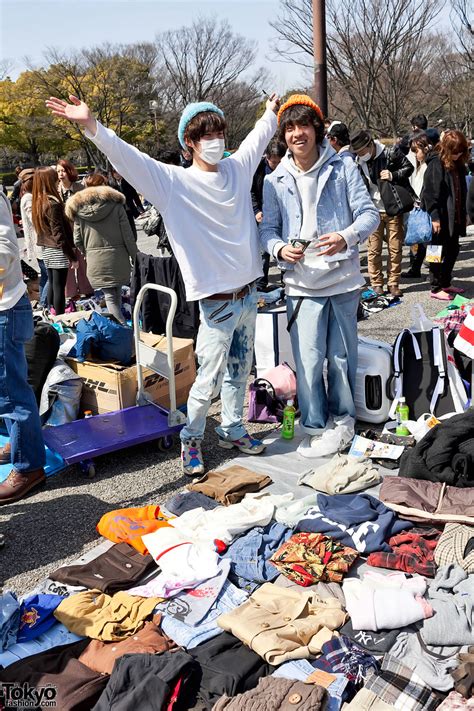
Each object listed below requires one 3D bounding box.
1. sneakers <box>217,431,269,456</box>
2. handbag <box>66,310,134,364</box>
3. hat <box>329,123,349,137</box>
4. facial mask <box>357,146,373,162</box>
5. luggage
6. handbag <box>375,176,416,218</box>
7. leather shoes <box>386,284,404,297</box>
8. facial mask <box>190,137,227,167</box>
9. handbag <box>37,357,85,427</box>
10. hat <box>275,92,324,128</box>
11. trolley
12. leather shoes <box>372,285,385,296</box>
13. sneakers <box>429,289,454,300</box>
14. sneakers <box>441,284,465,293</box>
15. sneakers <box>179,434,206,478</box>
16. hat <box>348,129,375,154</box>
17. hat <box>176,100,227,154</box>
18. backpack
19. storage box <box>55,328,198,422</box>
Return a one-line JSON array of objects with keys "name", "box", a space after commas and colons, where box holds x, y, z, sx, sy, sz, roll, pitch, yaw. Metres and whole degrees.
[{"name": "sneakers", "box": [0.038, 0.605, 3.908, 0.344, 0.137, 0.132, 5, 12, 19]}, {"name": "handbag", "box": [-1.087, -0.233, 4.576, 0.565, 0.255, 0.611, -11, 17, -26]}, {"name": "hat", "box": [1.191, -2.673, 6.629, 0.170, 0.139, 0.232, -25, 48, -32]}, {"name": "facial mask", "box": [1.612, -2.530, 6.989, 0.137, 0.137, 0.082, -12, -7, -42]}, {"name": "luggage", "box": [0.979, 0.200, 4.364, 0.374, 0.600, 0.659, -16, 18, -33]}, {"name": "handbag", "box": [1.986, -1.982, 6.949, 0.436, 0.455, 0.255, -1, 11, 15]}, {"name": "leather shoes", "box": [2.116, -0.852, 7.446, 0.182, 0.166, 0.329, 0, 11, 16]}, {"name": "facial mask", "box": [-0.137, -1.183, 3.221, 0.131, 0.092, 0.150, -16, 37, -17]}, {"name": "handbag", "box": [-1.384, 0.298, 4.355, 0.310, 0.391, 0.537, 2, 13, -14]}, {"name": "hat", "box": [0.393, -1.595, 3.547, 0.272, 0.218, 0.382, -3, 11, 5]}, {"name": "trolley", "box": [-0.866, 0.142, 3.796, 0.951, 1.056, 0.548, -12, 22, -36]}, {"name": "leather shoes", "box": [1.910, -0.868, 7.482, 0.074, 0.086, 0.199, 2, 20, 1]}, {"name": "sneakers", "box": [2.630, -0.771, 7.155, 0.119, 0.084, 0.229, -13, 13, -33]}, {"name": "sneakers", "box": [2.784, -0.858, 7.204, 0.302, 0.117, 0.111, 4, 20, 23]}, {"name": "sneakers", "box": [-0.273, 0.682, 3.541, 0.114, 0.129, 0.288, 0, 6, -7]}, {"name": "hat", "box": [1.558, -2.651, 6.911, 0.246, 0.269, 0.109, 36, 33, 31]}, {"name": "hat", "box": [-0.234, -1.420, 3.420, 0.253, 0.269, 0.304, 4, 35, 8]}, {"name": "backpack", "box": [1.371, 0.171, 3.987, 0.675, 0.787, 0.479, -5, 0, 33]}, {"name": "storage box", "box": [-0.768, 0.222, 4.469, 0.725, 0.422, 0.710, -18, 24, -40]}]
